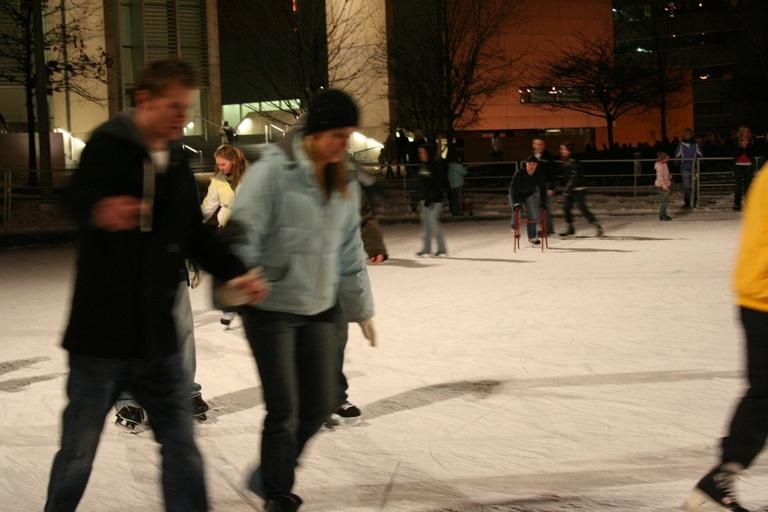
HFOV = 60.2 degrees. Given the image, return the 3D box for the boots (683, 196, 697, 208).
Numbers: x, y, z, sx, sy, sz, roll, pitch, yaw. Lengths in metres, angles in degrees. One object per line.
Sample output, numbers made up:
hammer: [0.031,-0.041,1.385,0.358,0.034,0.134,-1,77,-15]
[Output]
boots: [9.635,-1.718,21.088,0.584,0.350,0.327,-4,10,-13]

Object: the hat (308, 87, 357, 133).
hat: [-0.258,-0.693,3.146,0.263,0.205,0.206,3,9,4]

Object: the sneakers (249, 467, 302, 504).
sneakers: [-0.525,1.128,3.282,0.260,0.097,0.187,22,-16,-3]

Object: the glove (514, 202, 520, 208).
glove: [2.753,-1.065,13.932,0.129,0.091,0.193,-2,9,-3]

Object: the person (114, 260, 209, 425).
person: [-1.657,0.700,5.097,0.656,0.493,1.793,10,22,-19]

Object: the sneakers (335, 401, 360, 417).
sneakers: [-0.275,1.158,4.994,0.167,0.095,0.233,2,-7,-15]

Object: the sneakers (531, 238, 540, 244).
sneakers: [3.260,-0.307,14.487,0.221,0.151,0.337,1,9,16]
